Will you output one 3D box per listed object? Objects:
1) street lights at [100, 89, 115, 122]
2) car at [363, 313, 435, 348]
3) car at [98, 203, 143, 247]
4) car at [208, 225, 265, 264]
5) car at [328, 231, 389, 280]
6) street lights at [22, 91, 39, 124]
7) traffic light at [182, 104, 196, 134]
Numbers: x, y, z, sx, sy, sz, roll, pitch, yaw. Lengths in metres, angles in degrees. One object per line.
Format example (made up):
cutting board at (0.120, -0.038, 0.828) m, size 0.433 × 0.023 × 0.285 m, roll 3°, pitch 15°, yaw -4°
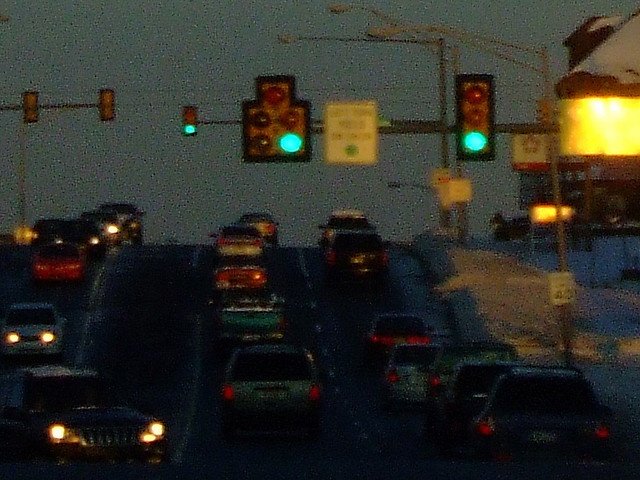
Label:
street lights at (-7.493, -4.799, 46.727) m, size 0.562 × 1.083 × 0.716 m, roll -4°, pitch 7°, yaw -13°
car at (2.303, 2.731, 39.377) m, size 1.150 × 0.986 × 2.057 m, roll 0°, pitch 3°, yaw 0°
car at (-10.096, -0.706, 66.705) m, size 1.934 × 1.992 × 1.985 m, roll 0°, pitch -3°, yaw -6°
car at (-3.147, 0.382, 51.529) m, size 2.217 × 1.634 × 3.940 m, roll -1°, pitch 1°, yaw -5°
car at (1.391, 0.472, 50.324) m, size 1.431 × 1.230 × 2.611 m, roll 0°, pitch 7°, yaw 1°
street lights at (-10.306, -4.782, 47.417) m, size 0.636 × 1.098 × 0.467 m, roll -3°, pitch 6°, yaw 1°
traffic light at (-3.834, -3.549, 39.273) m, size 0.434 × 0.815 × 1.251 m, roll -4°, pitch 7°, yaw -5°
